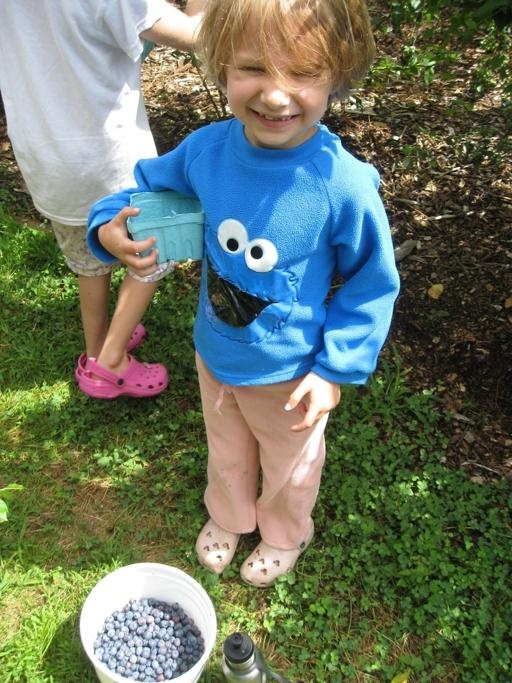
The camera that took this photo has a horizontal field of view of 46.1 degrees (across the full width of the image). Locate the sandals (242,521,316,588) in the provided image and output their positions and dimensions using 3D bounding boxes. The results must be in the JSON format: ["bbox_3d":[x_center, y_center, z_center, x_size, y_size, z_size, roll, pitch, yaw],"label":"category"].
[{"bbox_3d":[0.076,0.712,1.993,0.225,0.078,0.109,-39,51,-19],"label":"sandals"}]

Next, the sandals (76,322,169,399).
[{"bbox_3d":[-0.479,0.097,2.353,0.366,0.132,0.205,-15,46,-41],"label":"sandals"}]
